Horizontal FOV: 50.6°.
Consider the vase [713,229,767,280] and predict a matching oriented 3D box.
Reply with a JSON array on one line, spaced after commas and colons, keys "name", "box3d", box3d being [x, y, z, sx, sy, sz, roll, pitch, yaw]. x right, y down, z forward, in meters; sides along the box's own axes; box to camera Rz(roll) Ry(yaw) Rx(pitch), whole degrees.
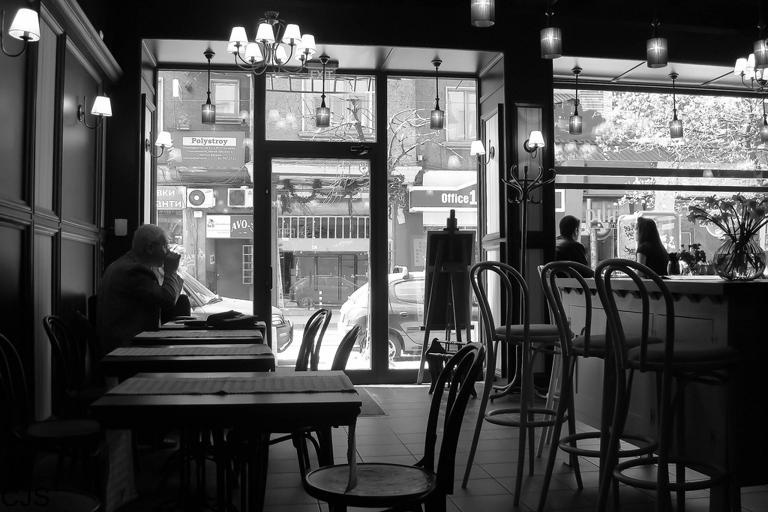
[{"name": "vase", "box3d": [2.404, -0.007, 5.477, 0.294, 0.299, 0.301, -4, -5, 36]}]

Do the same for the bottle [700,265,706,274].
[{"name": "bottle", "box3d": [2.453, 0.098, 6.252, 0.020, 0.058, 0.088, 10, 3, 31]}]

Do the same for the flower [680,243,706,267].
[{"name": "flower", "box3d": [2.520, -0.007, 6.642, 0.195, 0.172, 0.197, 1, -11, -23]}]
